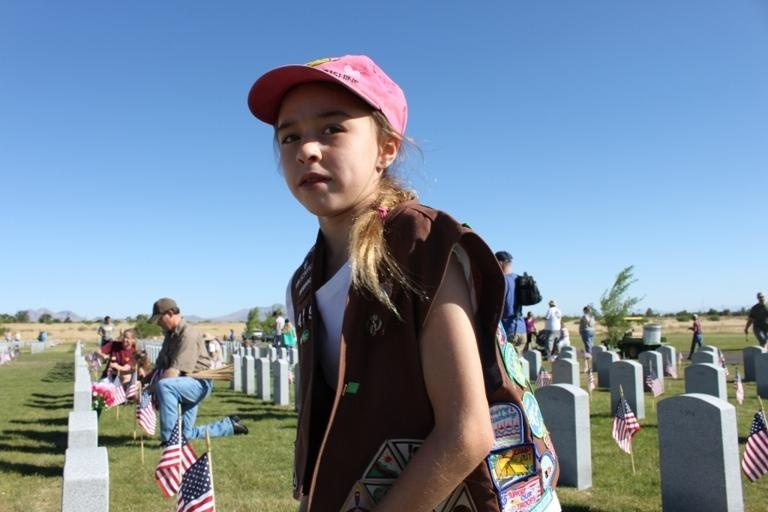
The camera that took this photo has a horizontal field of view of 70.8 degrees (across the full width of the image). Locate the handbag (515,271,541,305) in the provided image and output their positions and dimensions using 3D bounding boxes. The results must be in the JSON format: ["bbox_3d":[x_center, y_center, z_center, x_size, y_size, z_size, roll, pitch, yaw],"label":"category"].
[{"bbox_3d":[2.491,0.591,9.243,0.324,0.608,0.460,-15,1,14],"label":"handbag"}]

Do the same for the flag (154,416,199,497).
[{"bbox_3d":[-2.132,2.019,5.610,0.366,0.895,0.097,1,2,-8],"label":"flag"}]

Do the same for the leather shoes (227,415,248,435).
[{"bbox_3d":[-2.605,3.049,9.763,0.216,0.187,0.528,5,-9,-2],"label":"leather shoes"}]

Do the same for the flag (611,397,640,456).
[{"bbox_3d":[3.156,2.191,7.043,0.323,0.731,0.269,-8,-10,39],"label":"flag"}]
